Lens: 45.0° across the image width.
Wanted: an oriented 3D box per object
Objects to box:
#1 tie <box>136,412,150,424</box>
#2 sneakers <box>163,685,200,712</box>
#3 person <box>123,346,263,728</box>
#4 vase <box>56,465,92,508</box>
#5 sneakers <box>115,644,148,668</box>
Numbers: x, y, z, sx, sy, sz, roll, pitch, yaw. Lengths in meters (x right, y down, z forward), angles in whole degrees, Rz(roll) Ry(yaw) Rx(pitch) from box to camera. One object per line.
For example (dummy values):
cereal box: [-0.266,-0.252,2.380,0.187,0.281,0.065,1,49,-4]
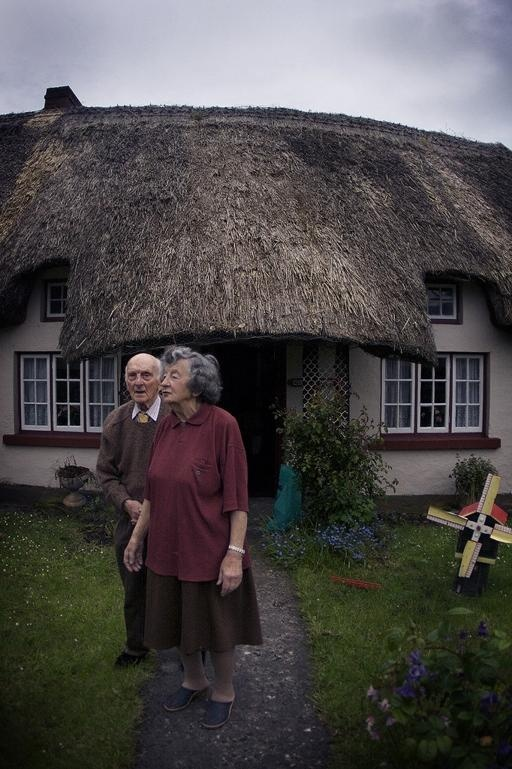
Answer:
tie: [-0.659,0.193,3.588,0.047,0.020,0.081,-18,37,3]
sneakers: [-0.399,1.691,3.327,0.194,0.086,0.085,0,-3,-41]
person: [-0.313,0.805,3.173,0.735,1.934,0.489,4,10,12]
vase: [-1.881,1.034,6.370,0.297,0.369,0.322,-1,-1,37]
sneakers: [-0.740,1.612,3.642,0.174,0.089,0.077,6,-12,-18]
